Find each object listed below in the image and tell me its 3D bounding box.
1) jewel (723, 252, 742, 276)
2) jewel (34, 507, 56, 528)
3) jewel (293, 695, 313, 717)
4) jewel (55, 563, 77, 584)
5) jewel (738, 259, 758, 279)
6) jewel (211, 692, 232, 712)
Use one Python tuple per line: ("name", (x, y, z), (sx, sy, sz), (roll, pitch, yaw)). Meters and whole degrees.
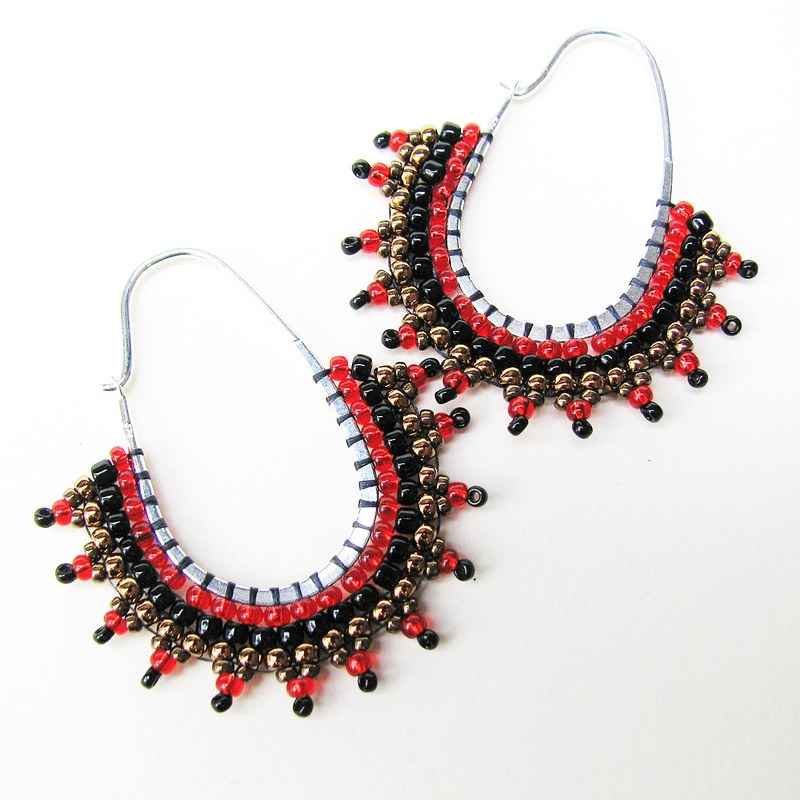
("jewel", (1.052, -0.427, 3.174), (0.050, 0.033, 0.068), (13, -92, 12))
("jewel", (-1.095, 0.363, 3.093), (0.035, 0.064, 0.055), (-10, -98, 44))
("jewel", (-0.284, 0.899, 2.952), (0.067, 0.034, 0.057), (23, -110, -22))
("jewel", (-1.018, 0.528, 3.060), (0.067, 0.034, 0.055), (-1, -99, -18))
("jewel", (1.096, -0.409, 3.159), (0.063, 0.033, 0.053), (-6, -90, 20))
("jewel", (-0.523, 0.886, 2.946), (0.059, 0.034, 0.055), (2, -112, -4))
